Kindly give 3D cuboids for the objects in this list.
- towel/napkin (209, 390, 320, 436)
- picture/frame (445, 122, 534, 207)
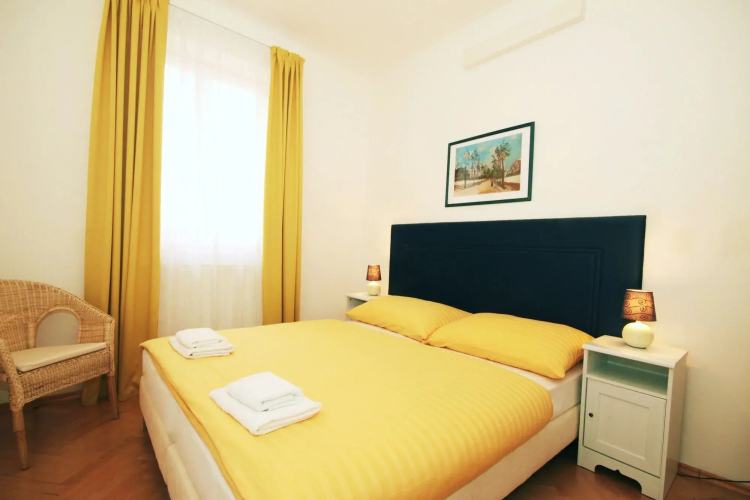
[{"bbox_3d":[-0.657,1.058,3.035,0.326,0.079,0.323,8,-2,-45],"label":"towel/napkin"},{"bbox_3d":[1.163,-0.843,4.699,0.927,0.688,0.031,1,-2,43],"label":"picture/frame"}]
